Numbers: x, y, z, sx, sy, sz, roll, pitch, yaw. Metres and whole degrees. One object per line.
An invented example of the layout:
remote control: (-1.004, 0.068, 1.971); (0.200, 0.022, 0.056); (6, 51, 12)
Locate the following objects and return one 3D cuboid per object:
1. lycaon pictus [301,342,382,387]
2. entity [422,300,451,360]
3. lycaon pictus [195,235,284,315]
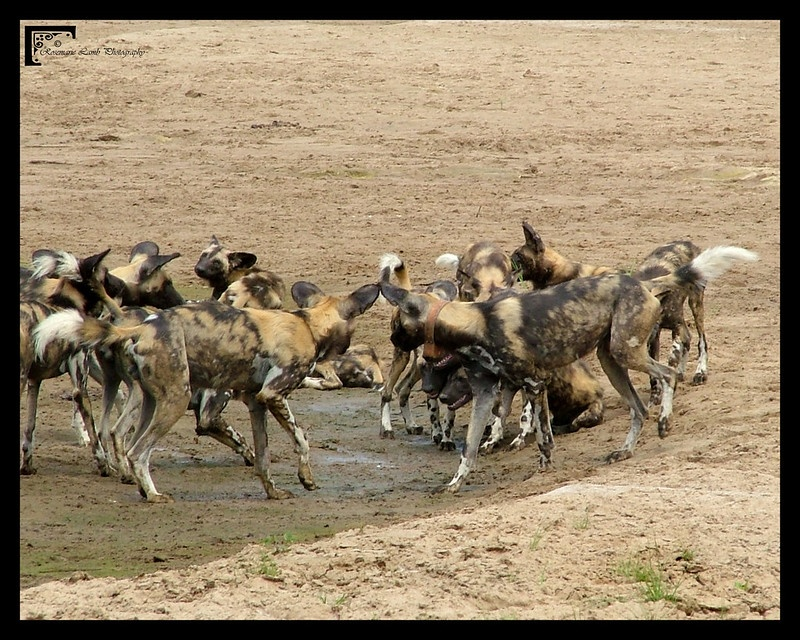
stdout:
lycaon pictus: (-0.640, 0.619, 16.913); (1.136, 0.379, 0.616); (-15, -21, 29)
entity: (0.349, 0.078, 13.366); (0.126, 0.455, 0.363); (12, 42, 13)
lycaon pictus: (-1.895, -0.475, 16.886); (0.653, 0.845, 1.567); (21, 12, 42)
